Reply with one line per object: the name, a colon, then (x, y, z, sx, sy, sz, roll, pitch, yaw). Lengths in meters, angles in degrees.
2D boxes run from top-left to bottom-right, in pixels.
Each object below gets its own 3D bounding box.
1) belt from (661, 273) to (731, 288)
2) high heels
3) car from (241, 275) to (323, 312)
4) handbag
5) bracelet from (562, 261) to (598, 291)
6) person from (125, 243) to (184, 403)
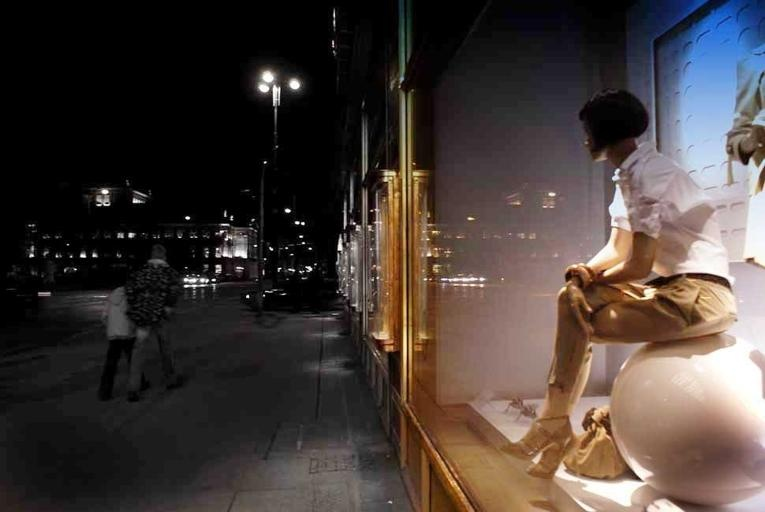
belt: (1.839, 0.132, 3.542, 0.402, 0.097, 0.118, -3, 2, 24)
high heels: (0.940, 1.131, 3.586, 0.528, 0.230, 0.192, 7, -5, -42)
car: (-3.714, 1.423, 23.325, 2.311, 0.865, 1.482, 2, -6, -14)
handbag: (1.357, 1.201, 3.910, 0.375, 0.433, 0.334, 7, -14, -3)
bracelet: (1.196, 0.097, 3.607, 0.155, 0.090, 0.136, -10, 44, -25)
person: (-3.352, 0.929, 8.697, 0.779, 1.828, 1.284, -4, 2, -25)
